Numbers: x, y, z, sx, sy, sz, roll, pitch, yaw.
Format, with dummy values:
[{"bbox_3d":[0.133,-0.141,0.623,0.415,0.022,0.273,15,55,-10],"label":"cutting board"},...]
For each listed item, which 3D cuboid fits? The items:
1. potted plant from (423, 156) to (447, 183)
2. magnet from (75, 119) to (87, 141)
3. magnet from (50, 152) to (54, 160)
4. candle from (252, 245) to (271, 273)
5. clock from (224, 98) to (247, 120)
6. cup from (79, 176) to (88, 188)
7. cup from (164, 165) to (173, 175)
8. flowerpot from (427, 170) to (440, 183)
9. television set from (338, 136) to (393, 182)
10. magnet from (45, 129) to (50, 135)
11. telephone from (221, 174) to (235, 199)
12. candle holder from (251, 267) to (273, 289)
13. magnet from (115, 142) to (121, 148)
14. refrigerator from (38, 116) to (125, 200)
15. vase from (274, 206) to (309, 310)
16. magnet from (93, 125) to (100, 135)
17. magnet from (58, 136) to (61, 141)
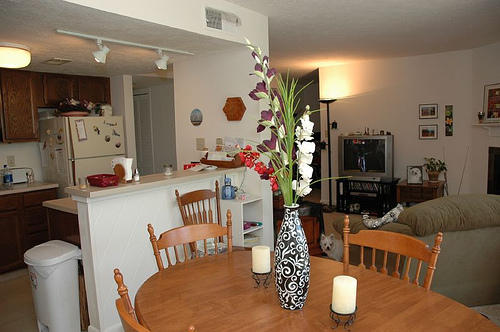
[{"bbox_3d":[3.540,0.074,6.360,0.486,0.456,0.428,1,-4,3],"label":"potted plant"},{"bbox_3d":[-2.679,-0.565,5.248,0.032,0.337,0.155,1,8,34],"label":"magnet"},{"bbox_3d":[-3.223,-0.167,5.391,0.022,0.085,0.084,2,41,-45],"label":"magnet"},{"bbox_3d":[0.085,0.651,2.279,0.161,0.174,0.162,-8,-14,22],"label":"candle"},{"bbox_3d":[-0.193,-0.780,4.552,0.255,0.211,0.027,37,24,21],"label":"clock"},{"bbox_3d":[-1.694,0.165,3.325,0.096,0.162,0.094,1,7,0],"label":"cup"},{"bbox_3d":[-0.992,0.051,3.942,0.109,0.116,0.106,0,0,0],"label":"cup"},{"bbox_3d":[3.515,0.215,6.351,0.207,0.193,0.207,1,3,28],"label":"flowerpot"},{"bbox_3d":[2.376,-0.171,6.880,1.041,0.917,0.330,-1,7,16],"label":"television set"},{"bbox_3d":[-3.292,-0.544,5.385,0.071,0.018,0.066,21,-25,-39],"label":"magnet"},{"bbox_3d":[-0.299,0.278,4.359,0.175,0.315,0.169,-7,8,-29],"label":"telephone"},{"bbox_3d":[0.078,0.767,2.267,0.119,0.088,0.117,1,-4,-1],"label":"candle holder"},{"bbox_3d":[-2.308,-0.366,5.766,0.121,0.113,0.028,-3,2,-40],"label":"magnet"},{"bbox_3d":[-2.925,-0.292,5.746,1.046,2.265,0.981,-6,7,-44],"label":"refrigerator"},{"bbox_3d":[0.252,0.561,2.029,0.203,0.621,0.123,-2,7,8],"label":"vase"},{"bbox_3d":[-2.530,-0.594,5.459,0.061,0.122,0.032,-36,-4,3],"label":"magnet"},{"bbox_3d":[-3.004,-0.444,5.226,0.046,0.080,0.045,1,-2,-7],"label":"magnet"}]
